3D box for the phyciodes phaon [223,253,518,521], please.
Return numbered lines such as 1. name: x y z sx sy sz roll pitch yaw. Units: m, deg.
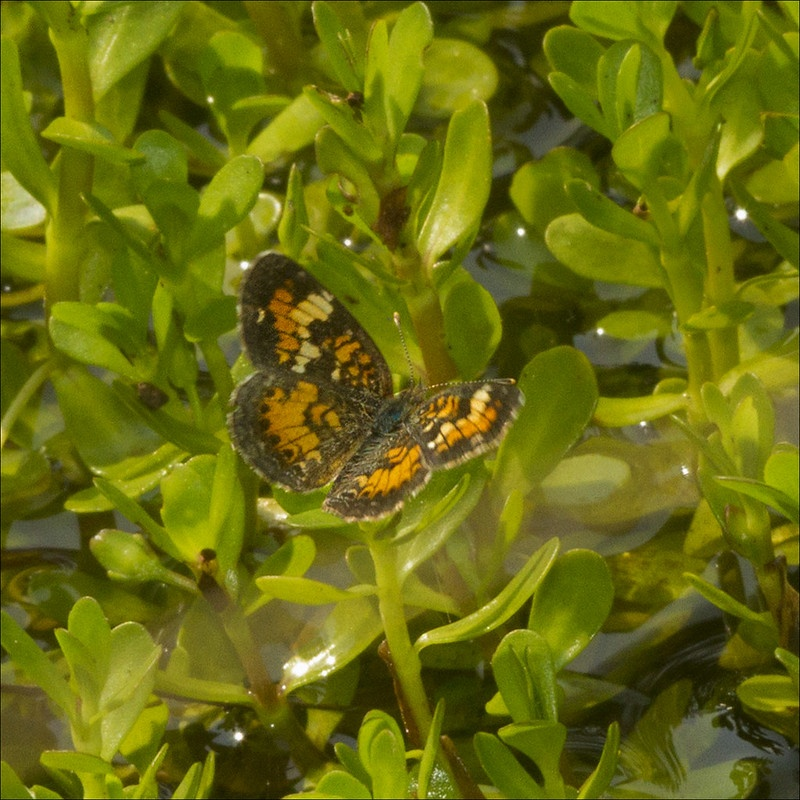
1. phyciodes phaon: -0.062 0.007 0.913 0.283 0.244 0.187 34 83 4
